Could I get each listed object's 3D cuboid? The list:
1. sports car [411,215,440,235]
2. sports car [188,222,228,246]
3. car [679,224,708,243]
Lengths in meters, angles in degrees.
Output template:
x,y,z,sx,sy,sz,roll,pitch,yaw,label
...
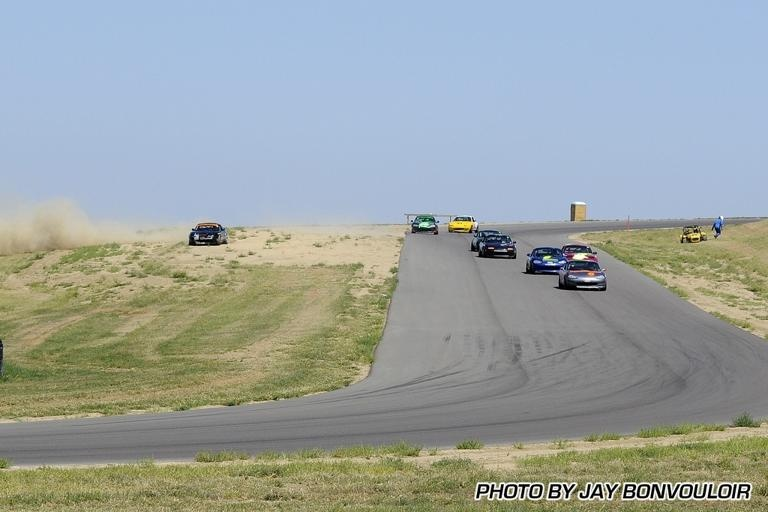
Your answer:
x,y,z,sx,sy,sz,roll,pitch,yaw,label
3.306,-2.498,88.544,1.649,1.079,2.612,0,-1,3,sports car
-12.331,-1.437,76.890,1.621,1.063,3.311,-1,-1,3,sports car
24.721,-1.658,88.464,1.686,1.284,2.695,0,6,3,car
